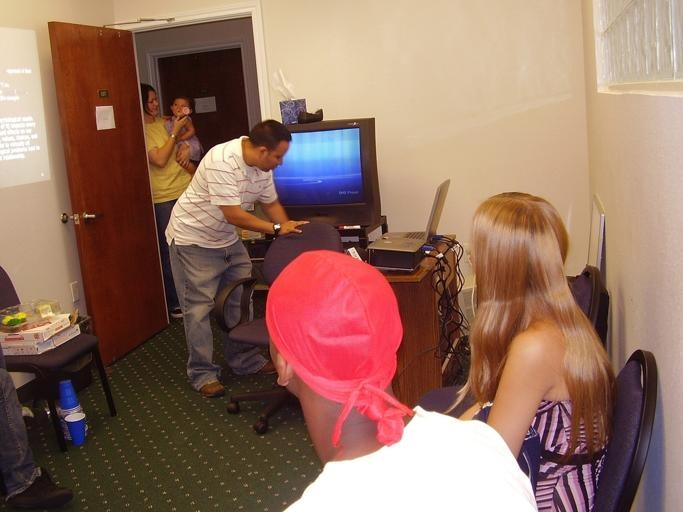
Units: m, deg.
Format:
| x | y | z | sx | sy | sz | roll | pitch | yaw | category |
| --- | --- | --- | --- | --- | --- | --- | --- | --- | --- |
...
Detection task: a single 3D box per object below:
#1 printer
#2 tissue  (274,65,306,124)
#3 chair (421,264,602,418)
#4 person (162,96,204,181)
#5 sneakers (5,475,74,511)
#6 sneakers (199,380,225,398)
| x | y | z | sx | sy | sz | roll | pitch | yaw | category |
| --- | --- | --- | --- | --- | --- | --- | --- | --- | --- |
| 0.415 | -0.339 | 3.128 | 0.448 | 0.593 | 0.875 | 5 | 15 | 17 | printer |
| -0.452 | -1.372 | 4.329 | 0.285 | 0.454 | 0.252 | -2 | 14 | 5 | tissue  |
| 0.744 | 0.338 | 2.355 | 0.662 | 0.922 | 0.605 | 6 | 3 | 0 | chair |
| -1.597 | -1.155 | 5.137 | 0.319 | 0.874 | 0.350 | -7 | 12 | -44 | person |
| -1.468 | 1.175 | 2.566 | 0.345 | 0.182 | 0.137 | 0 | 5 | 0 | sneakers |
| -0.863 | 0.892 | 3.424 | 0.082 | 0.076 | 0.161 | -6 | -2 | -44 | sneakers |
